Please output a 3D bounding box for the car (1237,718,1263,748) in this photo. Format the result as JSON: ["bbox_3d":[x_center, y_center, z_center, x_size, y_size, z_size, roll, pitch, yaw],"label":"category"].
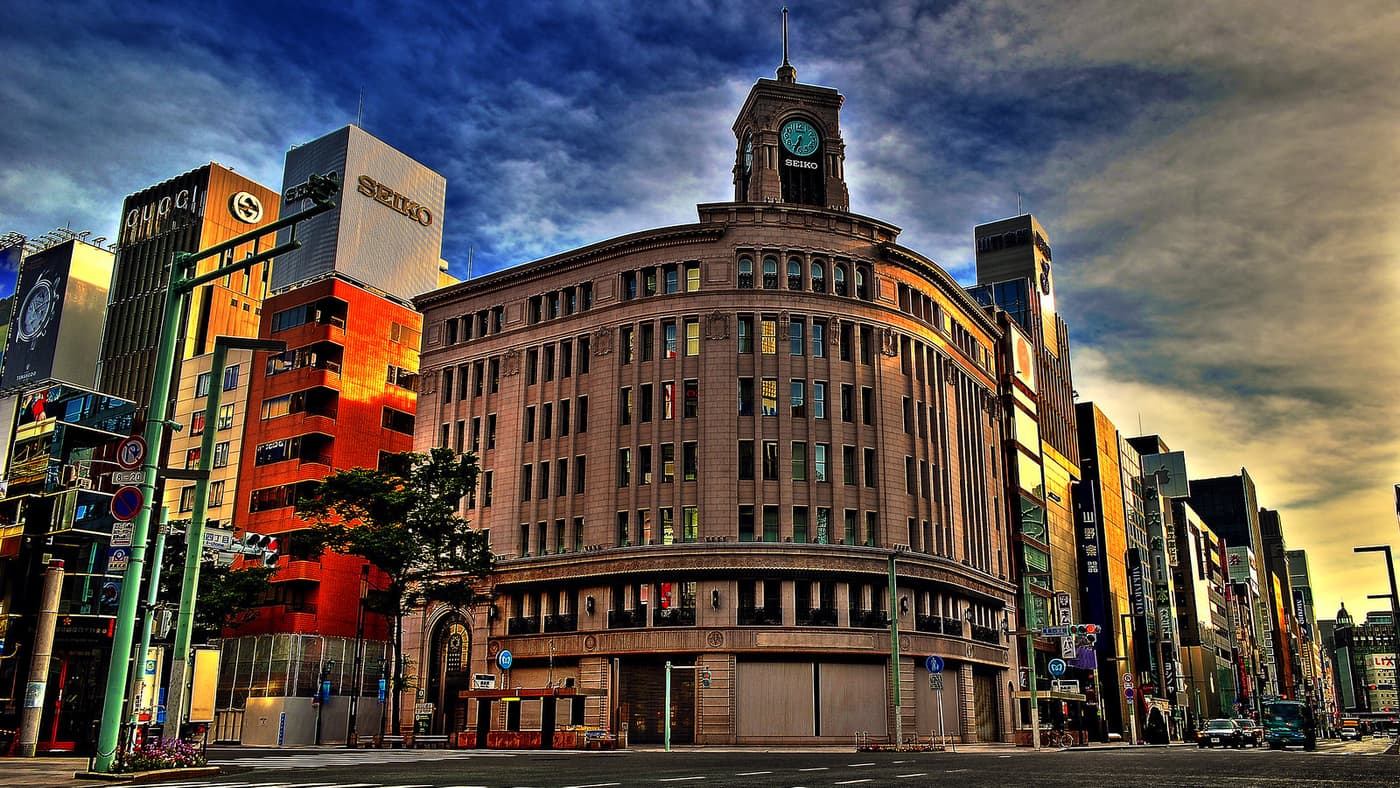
[{"bbox_3d":[52.237,31.847,106.105,2.887,1.949,6.224,-5,-20,19],"label":"car"}]

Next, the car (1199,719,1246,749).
[{"bbox_3d":[45.684,29.856,98.973,4.440,2.241,1.827,14,-29,-34],"label":"car"}]

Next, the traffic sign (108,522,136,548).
[{"bbox_3d":[-31.835,7.652,62.119,1.211,1.422,0.734,1,-25,-9],"label":"traffic sign"}]

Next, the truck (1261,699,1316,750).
[{"bbox_3d":[51.312,28.826,98.205,3.531,4.034,3.260,-12,-26,21],"label":"truck"}]

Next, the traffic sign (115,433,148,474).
[{"bbox_3d":[-31.309,3.173,62.091,1.556,1.854,0.770,-5,-25,6],"label":"traffic sign"}]

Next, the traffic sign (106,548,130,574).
[{"bbox_3d":[-32.024,9.216,62.122,1.672,1.715,0.239,-2,-12,-5],"label":"traffic sign"}]
